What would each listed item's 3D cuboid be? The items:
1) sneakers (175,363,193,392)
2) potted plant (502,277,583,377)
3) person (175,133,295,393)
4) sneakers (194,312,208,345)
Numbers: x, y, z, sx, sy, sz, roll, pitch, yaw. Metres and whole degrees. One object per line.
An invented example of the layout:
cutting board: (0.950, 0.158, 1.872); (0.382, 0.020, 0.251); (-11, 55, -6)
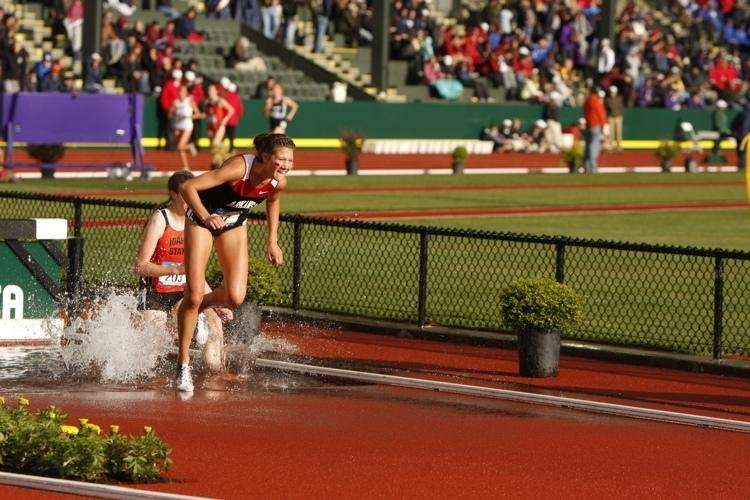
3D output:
sneakers: (-2.021, 1.370, 13.629); (0.180, 0.290, 0.293); (0, 3, -9)
potted plant: (1.801, 0.802, 14.792); (1.205, 1.265, 0.969); (1, 1, -38)
person: (-1.520, 0.136, 13.774); (1.201, 2.792, 1.142); (0, 3, -9)
sneakers: (-2.001, 0.909, 14.682); (0.155, 0.353, 0.131); (-2, -6, 14)
